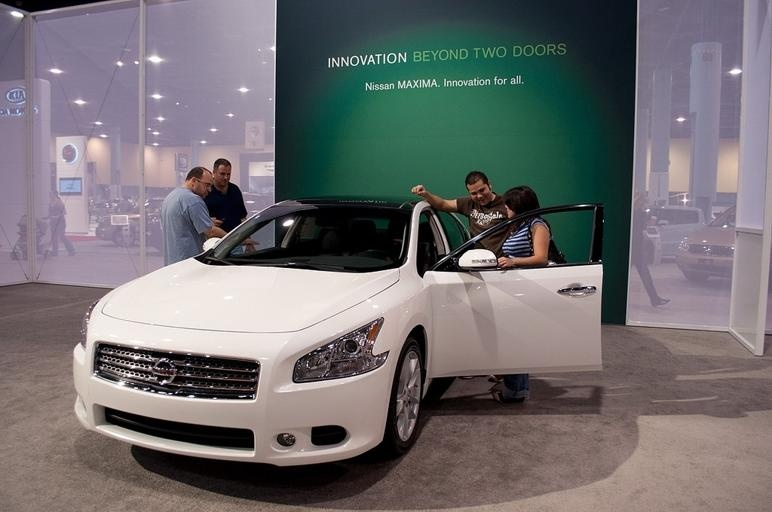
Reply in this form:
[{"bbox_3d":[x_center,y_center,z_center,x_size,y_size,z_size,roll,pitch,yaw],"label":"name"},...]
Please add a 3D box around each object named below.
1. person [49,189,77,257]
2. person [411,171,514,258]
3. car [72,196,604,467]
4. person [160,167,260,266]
[{"bbox_3d":[-6.567,-0.646,10.230,0.706,1.272,0.192,8,14,29],"label":"person"},{"bbox_3d":[0.917,-0.480,5.771,1.120,1.308,0.381,-5,11,37],"label":"person"},{"bbox_3d":[-0.248,0.622,4.324,2.606,1.127,3.119,3,6,32],"label":"car"},{"bbox_3d":[-2.111,-0.501,6.249,0.821,1.853,0.712,30,35,31],"label":"person"}]
